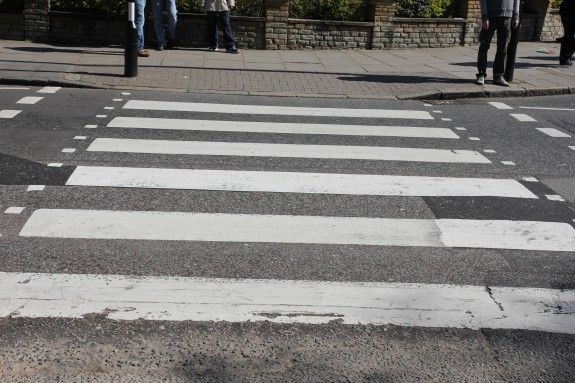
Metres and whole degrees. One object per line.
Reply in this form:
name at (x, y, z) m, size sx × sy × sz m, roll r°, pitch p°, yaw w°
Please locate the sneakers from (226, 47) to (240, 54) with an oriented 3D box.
sneakers at (-1.562, -3.952, 15.051) m, size 0.483 × 0.158 × 0.110 m, roll 0°, pitch 62°, yaw 0°
